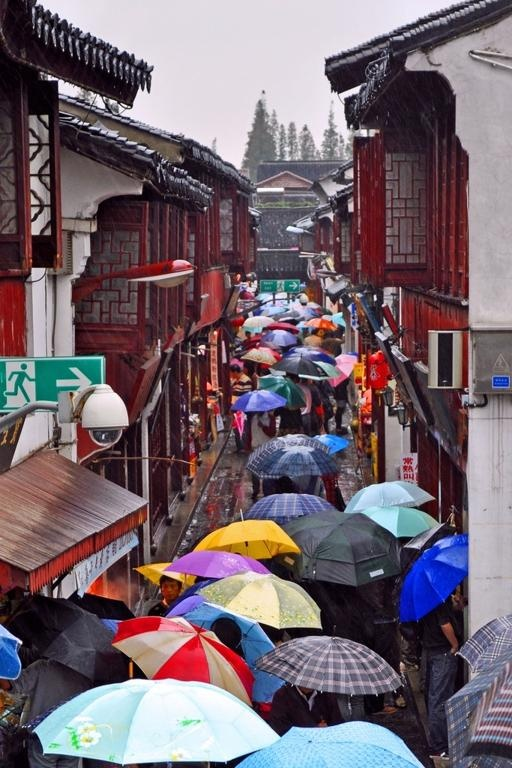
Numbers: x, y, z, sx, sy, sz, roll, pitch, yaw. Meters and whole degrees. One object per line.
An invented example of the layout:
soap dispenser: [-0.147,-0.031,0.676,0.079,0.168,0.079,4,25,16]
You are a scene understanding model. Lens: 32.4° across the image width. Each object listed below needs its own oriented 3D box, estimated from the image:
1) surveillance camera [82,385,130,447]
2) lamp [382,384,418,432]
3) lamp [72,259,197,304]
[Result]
surveillance camera: [-0.949,0.210,5.498,0.273,0.384,0.558,1,1,-12]
lamp: [2.096,0.350,12.725,0.374,0.202,0.746,-16,-34,-2]
lamp: [-1.111,-1.057,8.613,0.989,0.515,1.050,3,10,8]
